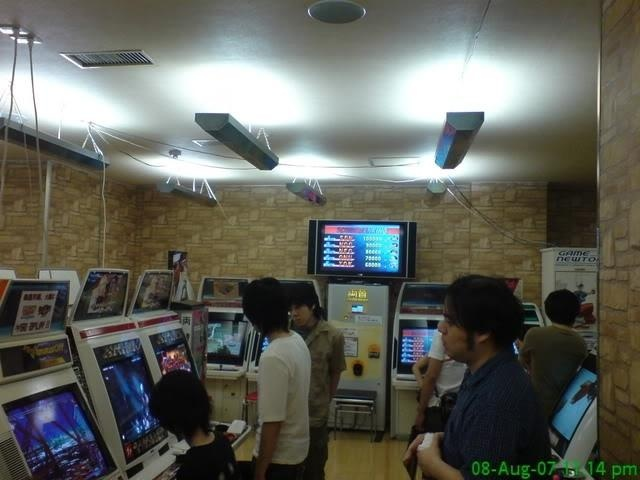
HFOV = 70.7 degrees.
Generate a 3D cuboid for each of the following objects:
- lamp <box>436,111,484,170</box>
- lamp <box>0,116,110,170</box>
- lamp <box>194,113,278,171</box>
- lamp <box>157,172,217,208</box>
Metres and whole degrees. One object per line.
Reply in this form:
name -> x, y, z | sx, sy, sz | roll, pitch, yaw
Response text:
lamp -> 1.159, -0.851, 3.908 | 0.264, 0.202, 0.863 | -6, -14, 3
lamp -> -2.061, -0.707, 3.460 | 0.346, 0.190, 0.930 | 0, -3, 10
lamp -> -0.709, -0.875, 4.256 | 0.292, 0.166, 1.536 | 2, -10, 14
lamp -> -2.080, -0.813, 7.211 | 0.231, 0.456, 0.811 | -10, -18, 15
